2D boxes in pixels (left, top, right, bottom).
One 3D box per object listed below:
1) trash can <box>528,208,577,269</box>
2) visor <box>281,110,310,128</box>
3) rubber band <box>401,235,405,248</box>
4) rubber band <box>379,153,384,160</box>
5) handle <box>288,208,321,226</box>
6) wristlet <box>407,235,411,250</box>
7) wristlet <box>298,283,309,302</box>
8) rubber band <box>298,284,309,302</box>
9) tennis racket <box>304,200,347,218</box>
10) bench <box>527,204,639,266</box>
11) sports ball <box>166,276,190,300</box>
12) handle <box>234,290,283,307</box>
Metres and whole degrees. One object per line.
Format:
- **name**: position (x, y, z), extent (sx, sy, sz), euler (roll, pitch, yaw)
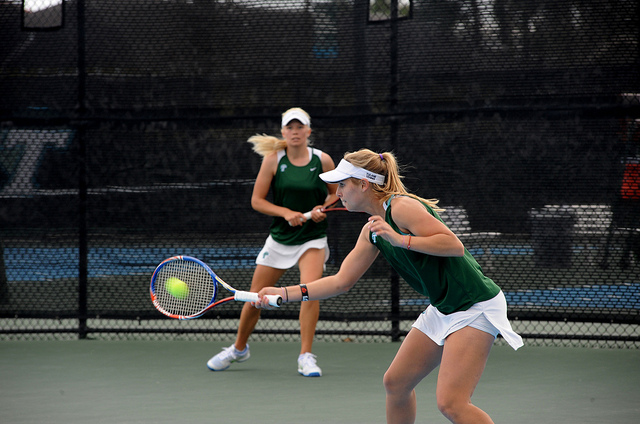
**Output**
- **trash can**: position (2.496, 0.247, 7.444), extent (0.525, 0.994, 0.540), euler (0, 2, 16)
- **visor**: position (-0.224, -0.836, 6.866), extent (0.218, 0.115, 0.310), euler (-2, -2, 3)
- **rubber band**: position (0.544, 0.194, 5.053), extent (0.020, 0.084, 0.051), euler (1, 11, 6)
- **rubber band**: position (0.419, -0.384, 5.287), extent (0.029, 0.027, 0.081), euler (-2, 20, -3)
- **handle**: position (-0.142, 0.037, 6.813), extent (0.280, 0.146, 0.092), euler (-1, 11, -8)
- **wristlet**: position (0.585, 0.202, 5.051), extent (0.020, 0.089, 0.052), euler (1, 11, 7)
- **wristlet**: position (-0.119, 0.574, 5.458), extent (0.066, 0.099, 0.102), euler (6, -26, -6)
- **rubber band**: position (-0.114, 0.574, 5.451), extent (0.065, 0.097, 0.102), euler (4, -41, -2)
- **tennis racket**: position (0.047, -0.033, 6.949), extent (0.425, 0.055, 0.145), euler (-9, -12, 3)
- **bench**: position (2.568, 0.075, 7.327), extent (0.615, 0.360, 0.830), euler (-4, 3, -15)
- **sports ball**: position (-1.129, 0.593, 6.040), extent (0.149, 0.153, 0.190), euler (40, -6, -38)
- **handle**: position (-0.467, 0.590, 5.442), extent (0.446, 0.139, 0.125), euler (3, -2, 39)
